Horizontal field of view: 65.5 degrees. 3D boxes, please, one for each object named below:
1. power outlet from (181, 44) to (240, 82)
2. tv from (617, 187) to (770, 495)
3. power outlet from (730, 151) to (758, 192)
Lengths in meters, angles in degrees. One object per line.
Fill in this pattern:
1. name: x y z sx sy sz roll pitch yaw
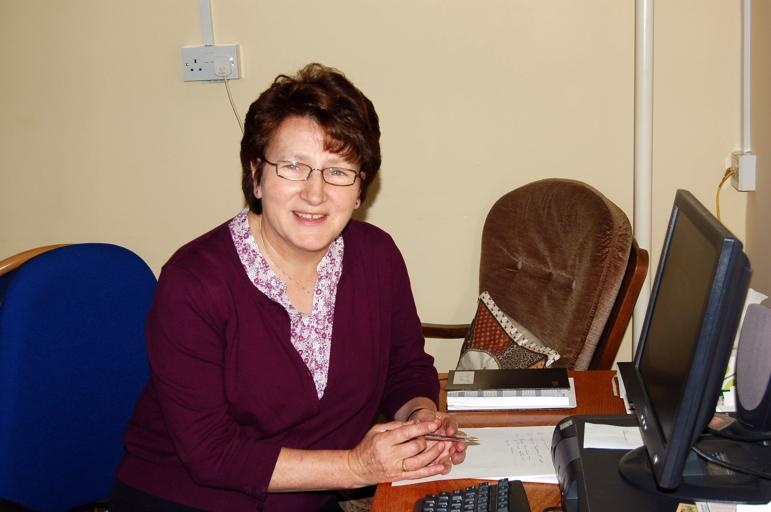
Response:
1. power outlet: -0.803 -0.884 2.745 0.238 0.155 0.127 -5 22 -11
2. tv: 0.642 0.173 1.312 0.281 0.585 0.414 -3 14 0
3. power outlet: 1.443 -0.343 2.395 0.052 0.142 0.157 -1 7 7
